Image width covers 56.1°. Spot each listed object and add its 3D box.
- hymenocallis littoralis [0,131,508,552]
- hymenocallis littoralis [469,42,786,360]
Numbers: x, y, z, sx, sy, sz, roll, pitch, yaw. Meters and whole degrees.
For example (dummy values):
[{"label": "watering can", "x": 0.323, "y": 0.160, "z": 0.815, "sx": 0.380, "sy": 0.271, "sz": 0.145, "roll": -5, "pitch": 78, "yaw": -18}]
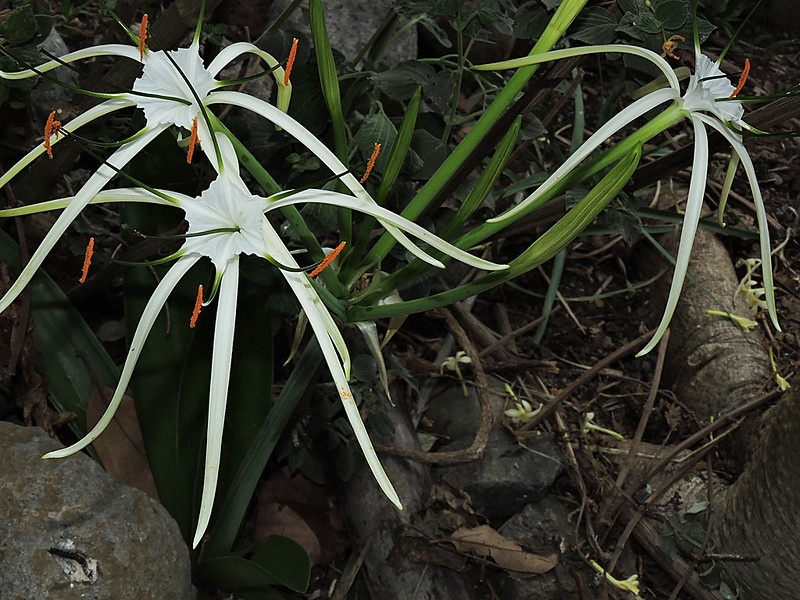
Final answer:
[{"label": "hymenocallis littoralis", "x": -0.189, "y": 0.089, "z": 1.127, "sx": 0.541, "sy": 0.152, "sz": 0.551, "roll": -33, "pitch": 71, "yaw": -16}, {"label": "hymenocallis littoralis", "x": 0.313, "y": -0.164, "z": 0.988, "sx": 0.339, "sy": 0.300, "sz": 0.401, "roll": 0, "pitch": 40, "yaw": -29}]
